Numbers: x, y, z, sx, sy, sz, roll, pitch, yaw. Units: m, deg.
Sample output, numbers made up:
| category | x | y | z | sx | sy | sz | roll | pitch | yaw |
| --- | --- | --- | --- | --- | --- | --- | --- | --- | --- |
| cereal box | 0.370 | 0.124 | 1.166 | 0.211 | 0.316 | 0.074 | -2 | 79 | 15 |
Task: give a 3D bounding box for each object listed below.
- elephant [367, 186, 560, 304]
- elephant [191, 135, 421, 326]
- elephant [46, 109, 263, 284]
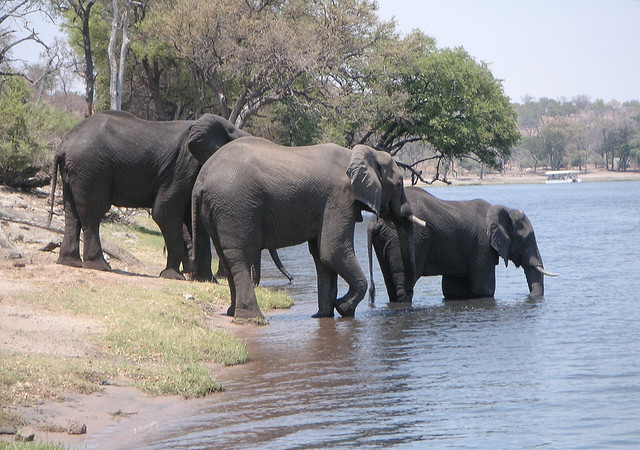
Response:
| category | x | y | z | sx | sy | sz | roll | pitch | yaw |
| --- | --- | --- | --- | --- | --- | --- | --- | --- | --- |
| elephant | 3.683 | 0.856 | 24.949 | 5.149 | 3.100 | 2.193 | 5 | -3 | -19 |
| elephant | -0.412 | 0.112 | 21.766 | 4.798 | 4.062 | 1.608 | 0 | 0 | -10 |
| elephant | -3.633 | -0.636 | 24.071 | 5.800 | 3.838 | 2.803 | 3 | 7 | -17 |
